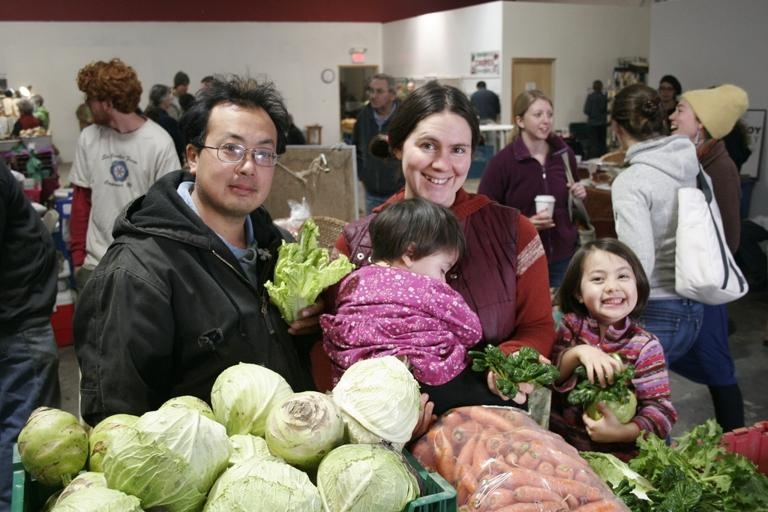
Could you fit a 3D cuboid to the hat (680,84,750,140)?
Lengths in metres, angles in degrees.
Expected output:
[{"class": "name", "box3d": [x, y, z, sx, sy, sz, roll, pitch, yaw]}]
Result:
[{"class": "hat", "box3d": [2.377, -1.016, 4.001, 0.329, 0.438, 0.333, -24, 46, 18]}]

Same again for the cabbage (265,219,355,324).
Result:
[{"class": "cabbage", "box3d": [-0.300, 0.066, 2.312, 0.351, 0.422, 0.195, 0, 15, 2]}]
